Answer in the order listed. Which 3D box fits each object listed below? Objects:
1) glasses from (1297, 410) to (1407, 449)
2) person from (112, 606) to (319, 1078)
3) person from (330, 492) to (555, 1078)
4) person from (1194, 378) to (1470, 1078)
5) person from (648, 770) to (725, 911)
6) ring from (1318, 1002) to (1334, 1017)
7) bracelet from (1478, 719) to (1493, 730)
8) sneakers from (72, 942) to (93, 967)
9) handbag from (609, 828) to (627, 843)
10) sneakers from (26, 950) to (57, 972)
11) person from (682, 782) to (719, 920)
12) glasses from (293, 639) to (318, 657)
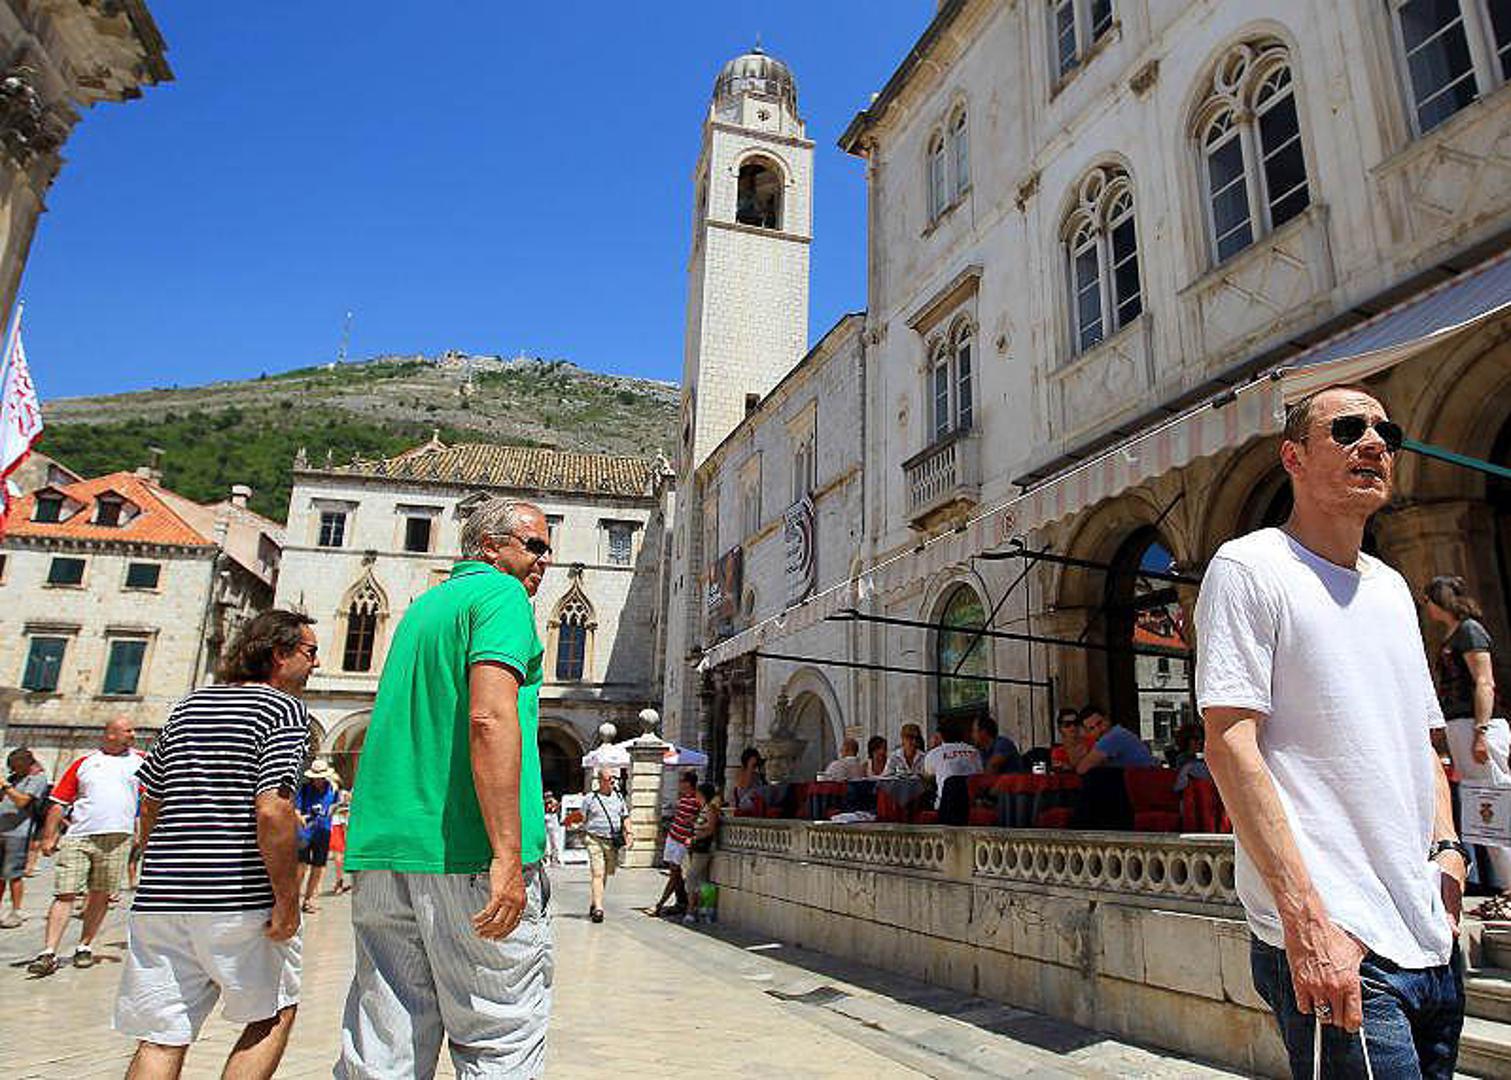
[{"bbox_3d":[2.102,-0.406,3.687,0.162,0.068,0.219,2,-15,3],"label":"glasses"},{"bbox_3d":[-2.516,1.368,4.891,0.808,2.179,0.595,2,-14,-5],"label":"person"},{"bbox_3d":[-1.171,0.855,4.075,0.846,2.316,0.514,1,-14,0],"label":"person"},{"bbox_3d":[1.896,0.590,3.511,0.841,2.320,0.413,0,-14,4],"label":"person"},{"bbox_3d":[-0.952,3.877,13.545,0.894,1.900,0.688,1,0,2],"label":"person"},{"bbox_3d":[1.756,1.448,3.198,0.032,0.041,0.012,3,10,-27],"label":"ring"},{"bbox_3d":[4.684,1.183,6.657,0.073,0.059,0.039,-9,-17,34],"label":"bracelet"},{"bbox_3d":[-5.802,3.543,8.947,0.170,0.172,0.537,9,-16,-30],"label":"sneakers"},{"bbox_3d":[-1.661,3.546,12.412,0.120,0.161,0.167,10,-25,-22],"label":"handbag"},{"bbox_3d":[-5.809,3.430,8.391,0.307,0.142,0.140,-28,-53,27],"label":"sneakers"},{"bbox_3d":[-0.696,3.942,13.347,0.505,1.650,0.482,-4,-15,20],"label":"person"},{"bbox_3d":[-2.263,0.531,5.206,0.093,0.027,0.093,21,-60,-41],"label":"glasses"}]
